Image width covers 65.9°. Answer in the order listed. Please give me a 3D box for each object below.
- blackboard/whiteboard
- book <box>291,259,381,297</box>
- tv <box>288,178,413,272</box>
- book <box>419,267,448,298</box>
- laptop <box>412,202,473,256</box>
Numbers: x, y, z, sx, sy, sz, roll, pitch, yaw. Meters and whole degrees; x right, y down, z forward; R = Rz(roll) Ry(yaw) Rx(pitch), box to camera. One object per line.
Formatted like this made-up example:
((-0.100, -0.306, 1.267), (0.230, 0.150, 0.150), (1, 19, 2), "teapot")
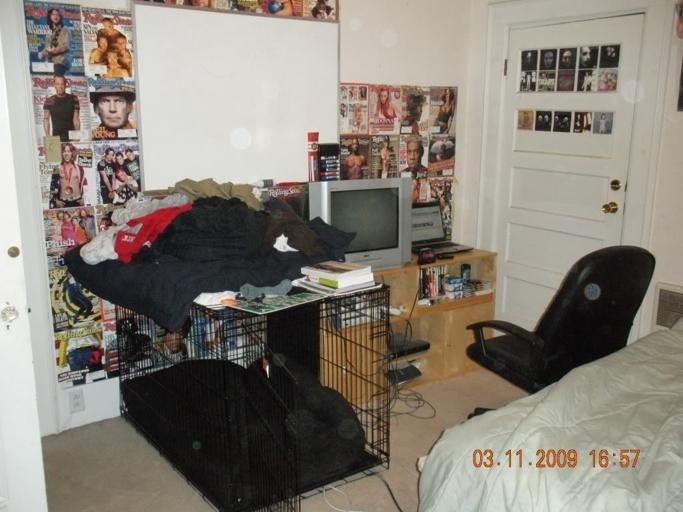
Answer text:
((-0.737, -1.033, 3.411), (1.323, 1.369, 0.054), (-5, 10, -29), "blackboard/whiteboard")
((0.007, 0.110, 2.672), (0.219, 0.073, 0.237), (-14, 19, -42), "book")
((0.103, -0.209, 3.746), (0.713, 0.633, 0.399), (-5, 5, -25), "tv")
((0.666, 0.193, 3.877), (0.216, 0.200, 0.028), (3, 1, -43), "book")
((0.730, -0.218, 3.994), (0.494, 0.336, 0.387), (-8, 16, -42), "laptop")
